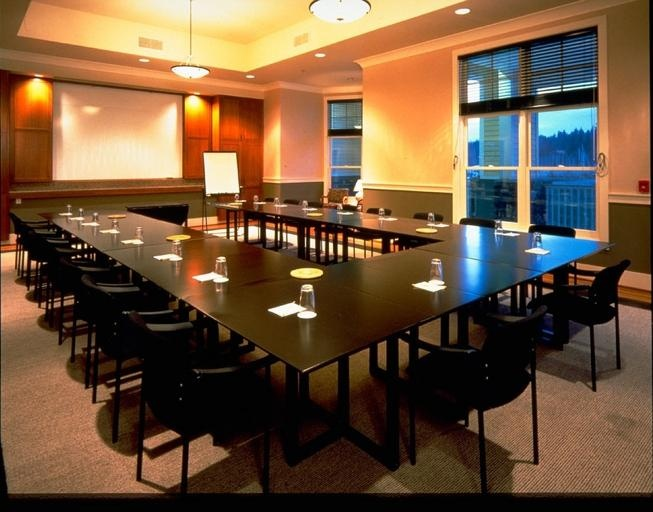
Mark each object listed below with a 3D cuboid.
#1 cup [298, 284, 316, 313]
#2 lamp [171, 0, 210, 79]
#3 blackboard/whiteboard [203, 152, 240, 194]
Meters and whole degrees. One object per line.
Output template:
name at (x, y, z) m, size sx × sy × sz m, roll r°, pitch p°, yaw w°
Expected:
cup at (-0.118, 0.251, 3.114) m, size 0.101 × 0.156 × 0.203 m, roll -1°, pitch 10°, yaw -1°
lamp at (-2.187, -3.363, 7.933) m, size 0.557 × 1.104 × 1.972 m, roll -3°, pitch 10°, yaw -14°
blackboard/whiteboard at (-2.122, -1.695, 9.926) m, size 0.895 × 0.973 × 0.102 m, roll -4°, pitch 1°, yaw -36°
